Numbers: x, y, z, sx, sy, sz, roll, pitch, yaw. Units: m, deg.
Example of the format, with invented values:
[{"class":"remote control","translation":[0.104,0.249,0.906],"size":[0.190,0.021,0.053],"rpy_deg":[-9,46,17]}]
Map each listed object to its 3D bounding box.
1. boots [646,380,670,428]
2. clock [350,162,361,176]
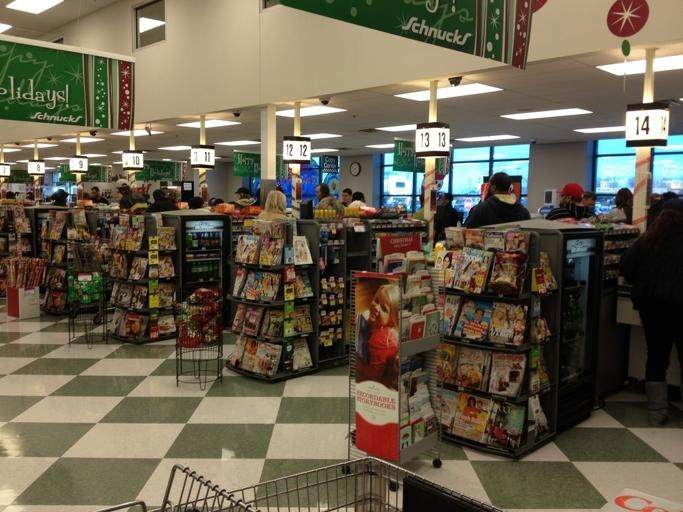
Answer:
[{"class":"boots","translation":[3.066,1.406,5.300],"size":[0.230,0.380,0.261],"rpy_deg":[3,10,16]},{"class":"clock","translation":[0.546,-3.449,21.765],"size":[0.480,0.491,0.476],"rpy_deg":[-1,3,-28]}]
